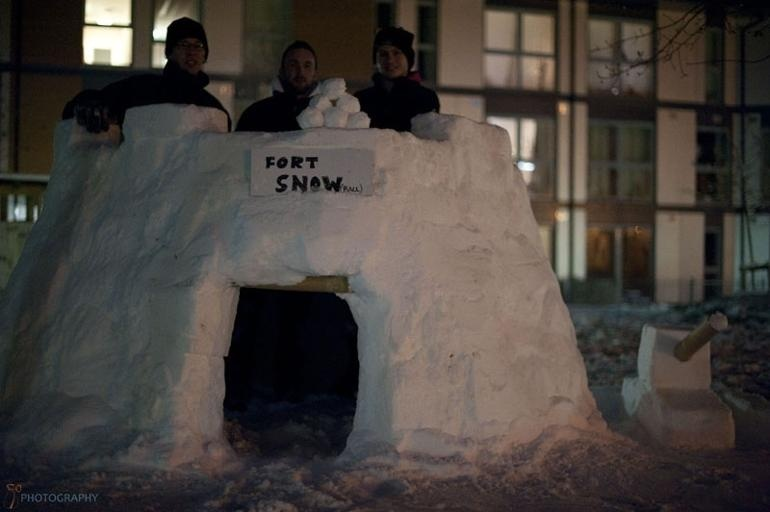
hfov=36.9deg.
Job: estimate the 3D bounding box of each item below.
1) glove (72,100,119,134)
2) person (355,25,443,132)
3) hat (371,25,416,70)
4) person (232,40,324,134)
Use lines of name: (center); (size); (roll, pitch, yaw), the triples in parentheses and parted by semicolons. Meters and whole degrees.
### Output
glove: (-4.363, -2.092, 17.201); (0.515, 0.431, 0.205); (17, 13, -4)
person: (0.153, -2.916, 18.594); (1.340, 1.580, 0.787); (6, 9, 24)
hat: (0.168, -3.427, 18.680); (0.541, 0.697, 0.658); (0, -5, 24)
person: (-1.485, -2.700, 18.965); (1.555, 1.596, 0.840); (1, -3, -10)
